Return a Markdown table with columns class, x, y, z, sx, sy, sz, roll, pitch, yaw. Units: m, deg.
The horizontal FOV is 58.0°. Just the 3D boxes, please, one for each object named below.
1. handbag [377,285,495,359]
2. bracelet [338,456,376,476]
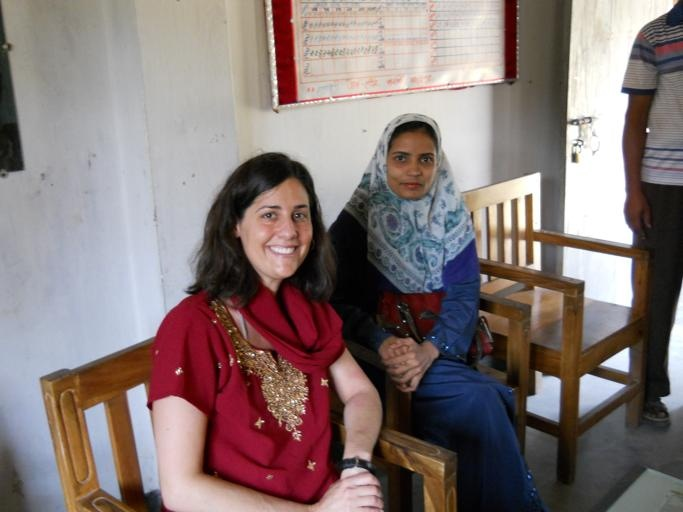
| class | x | y | z | sx | sy | sz | roll | pitch | yaw |
| --- | --- | --- | --- | --- | --- | --- | --- | --- | --- |
| handbag | 0.372 | 0.271 | 2.452 | 0.375 | 0.219 | 0.267 | 11 | -3 | -4 |
| bracelet | 0.038 | 0.583 | 1.711 | 0.075 | 0.052 | 0.082 | -13 | -25 | 22 |
